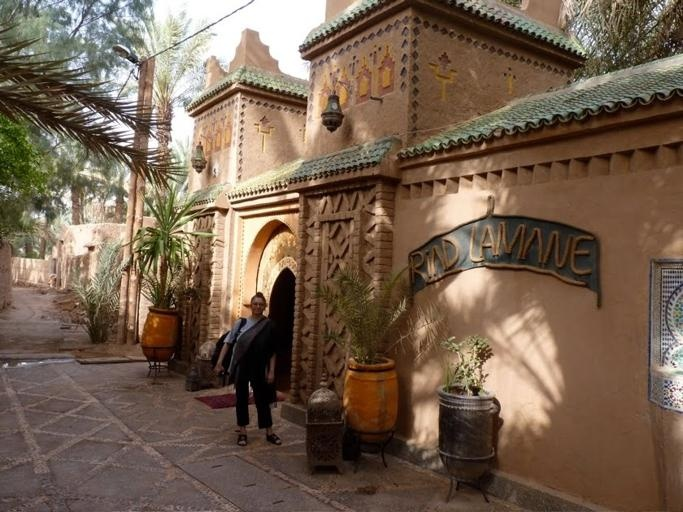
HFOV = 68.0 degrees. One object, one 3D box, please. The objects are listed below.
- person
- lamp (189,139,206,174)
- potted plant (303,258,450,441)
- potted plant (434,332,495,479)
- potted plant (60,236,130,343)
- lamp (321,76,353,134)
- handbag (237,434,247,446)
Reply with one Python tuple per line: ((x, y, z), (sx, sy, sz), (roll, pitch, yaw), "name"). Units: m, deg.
((-1.319, 1.657, 7.513), (1.030, 2.209, 0.607), (6, -6, -7), "person")
((-3.810, -2.694, 13.607), (0.414, 0.864, 0.621), (7, -7, -18), "lamp")
((0.486, 1.204, 7.945), (2.303, 2.897, 2.021), (-3, -3, 44), "potted plant")
((1.476, 1.809, 6.175), (0.723, 1.690, 0.632), (-1, -4, 41), "potted plant")
((-7.978, 1.125, 16.828), (1.166, 3.383, 2.628), (8, -7, -25), "potted plant")
((-0.094, -2.745, 8.934), (0.438, 1.169, 0.601), (5, -6, 2), "lamp")
((-1.449, 2.677, 7.420), (0.147, 0.158, 0.225), (7, -7, -10), "handbag")
